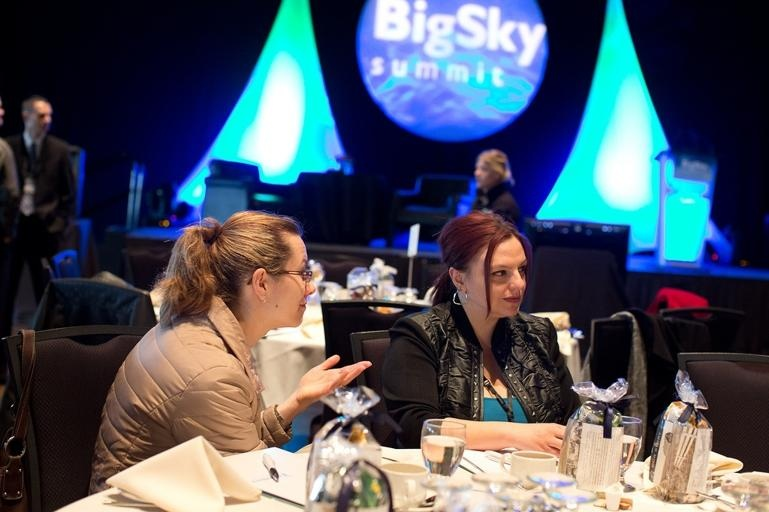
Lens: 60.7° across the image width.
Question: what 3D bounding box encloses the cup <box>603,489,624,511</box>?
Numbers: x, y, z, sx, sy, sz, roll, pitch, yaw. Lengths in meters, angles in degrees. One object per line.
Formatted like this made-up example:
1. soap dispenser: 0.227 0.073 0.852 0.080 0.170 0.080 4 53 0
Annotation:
1. cup: 0.675 0.713 1.939 0.055 0.062 0.054 0 5 0

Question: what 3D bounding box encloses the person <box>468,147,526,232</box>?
1. person: 0.984 -0.486 6.124 0.511 0.904 0.592 9 -8 -7

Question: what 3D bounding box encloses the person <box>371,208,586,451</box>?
1. person: 0.426 0.368 2.756 0.802 1.005 0.680 5 -7 -21

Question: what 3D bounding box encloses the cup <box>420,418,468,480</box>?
1. cup: 0.178 0.579 1.990 0.135 0.159 0.137 4 0 0

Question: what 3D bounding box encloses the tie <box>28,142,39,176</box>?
1. tie: -2.876 -0.795 5.383 0.028 0.249 0.082 0 -4 41

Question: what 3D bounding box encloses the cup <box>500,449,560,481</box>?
1. cup: 0.441 0.601 1.935 0.123 0.081 0.089 -2 0 9
